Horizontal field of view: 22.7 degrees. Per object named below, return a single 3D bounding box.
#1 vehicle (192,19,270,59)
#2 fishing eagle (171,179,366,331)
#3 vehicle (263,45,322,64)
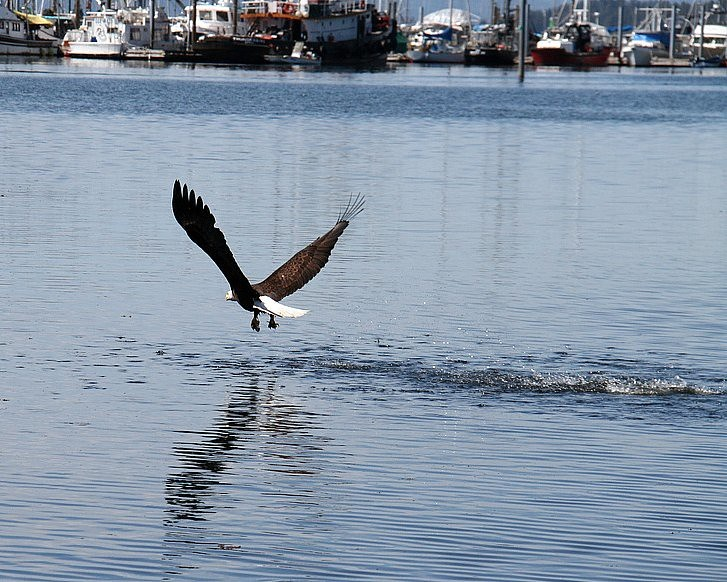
[{"bbox_3d":[-9.772,-18.645,134.936,4.916,2.051,7.592,3,6,24],"label":"vehicle"},{"bbox_3d":[-1.427,-0.493,27.057,2.929,1.478,1.477,6,-3,-40],"label":"fishing eagle"},{"bbox_3d":[-5.198,-17.292,133.818,3.106,0.964,1.677,-3,11,-22],"label":"vehicle"}]
